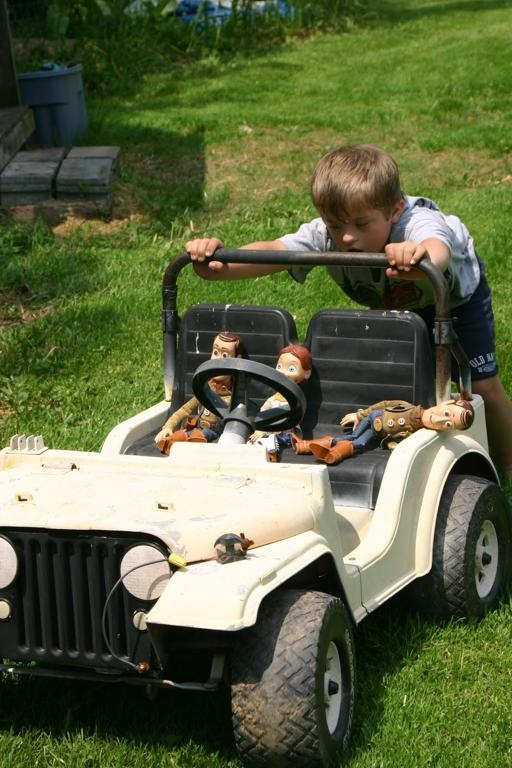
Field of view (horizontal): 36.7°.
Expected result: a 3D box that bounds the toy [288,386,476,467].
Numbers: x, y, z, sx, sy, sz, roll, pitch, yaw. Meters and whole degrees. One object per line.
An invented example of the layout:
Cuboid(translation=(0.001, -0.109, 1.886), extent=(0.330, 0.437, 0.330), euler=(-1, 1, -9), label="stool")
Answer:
Cuboid(translation=(0.358, 0.131, 2.188), extent=(0.411, 0.102, 0.225), euler=(-13, 15, 12), label="toy")
